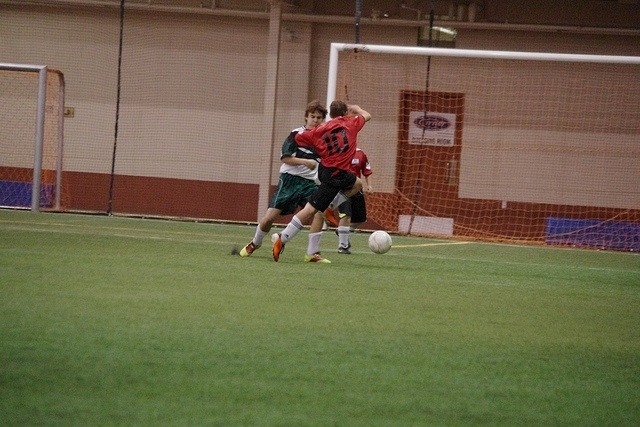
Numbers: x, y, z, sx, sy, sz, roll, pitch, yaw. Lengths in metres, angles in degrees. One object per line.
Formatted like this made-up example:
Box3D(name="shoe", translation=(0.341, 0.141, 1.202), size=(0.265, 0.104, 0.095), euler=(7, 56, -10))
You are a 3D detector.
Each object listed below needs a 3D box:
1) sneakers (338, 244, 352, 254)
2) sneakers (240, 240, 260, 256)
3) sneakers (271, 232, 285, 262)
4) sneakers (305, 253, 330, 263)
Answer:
Box3D(name="sneakers", translation=(0.343, 0.510, 9.791), size=(0.219, 0.142, 0.071), euler=(-1, 4, -7))
Box3D(name="sneakers", translation=(-0.901, 0.441, 8.970), size=(0.229, 0.189, 0.221), euler=(4, 4, -25))
Box3D(name="sneakers", translation=(-0.503, 0.405, 8.642), size=(0.173, 0.327, 0.125), euler=(4, 11, 5))
Box3D(name="sneakers", translation=(-0.037, 0.553, 8.797), size=(0.359, 0.139, 0.116), euler=(1, -2, -3))
